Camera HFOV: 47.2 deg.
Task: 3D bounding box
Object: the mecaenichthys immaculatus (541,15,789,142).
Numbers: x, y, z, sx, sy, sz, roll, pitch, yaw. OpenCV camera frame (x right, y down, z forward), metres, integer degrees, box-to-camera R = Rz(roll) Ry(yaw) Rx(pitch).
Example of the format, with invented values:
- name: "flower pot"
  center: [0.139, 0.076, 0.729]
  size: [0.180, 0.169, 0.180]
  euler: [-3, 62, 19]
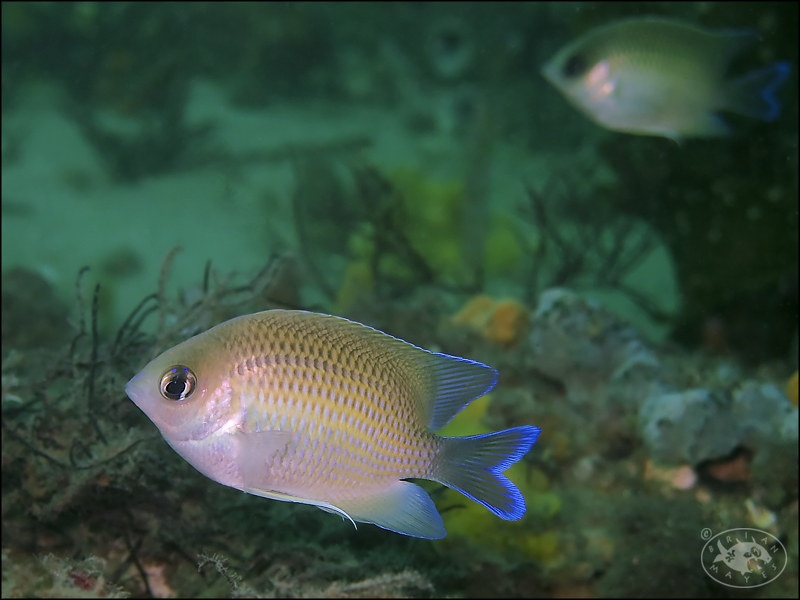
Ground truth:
- name: "mecaenichthys immaculatus"
  center: [0.618, -0.509, 2.118]
  size: [0.568, 0.148, 0.223]
  euler: [3, 57, 5]
